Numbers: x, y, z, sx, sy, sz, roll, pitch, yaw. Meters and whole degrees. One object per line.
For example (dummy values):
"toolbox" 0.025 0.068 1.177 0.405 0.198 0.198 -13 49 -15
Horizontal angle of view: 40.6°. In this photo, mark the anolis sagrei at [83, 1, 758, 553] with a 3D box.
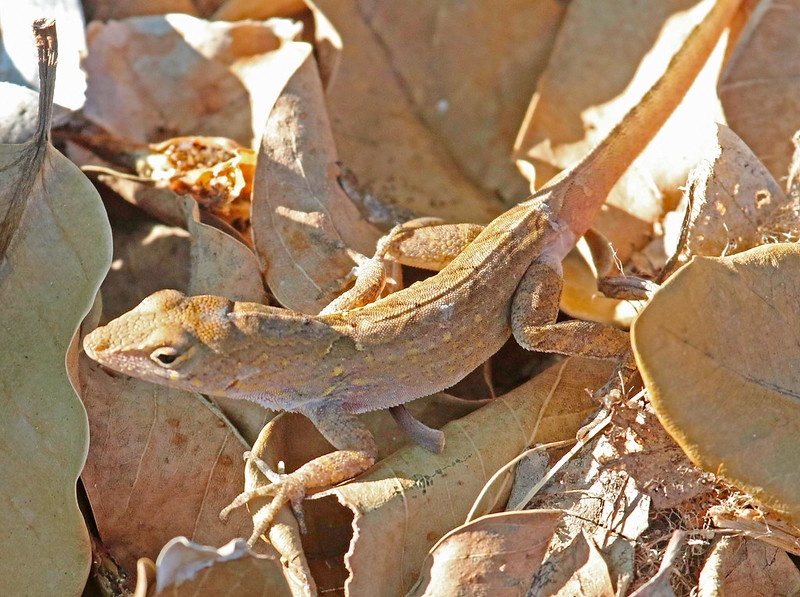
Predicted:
"anolis sagrei" 0.075 0.016 3.334 2.035 0.831 0.610 -18 46 -14
